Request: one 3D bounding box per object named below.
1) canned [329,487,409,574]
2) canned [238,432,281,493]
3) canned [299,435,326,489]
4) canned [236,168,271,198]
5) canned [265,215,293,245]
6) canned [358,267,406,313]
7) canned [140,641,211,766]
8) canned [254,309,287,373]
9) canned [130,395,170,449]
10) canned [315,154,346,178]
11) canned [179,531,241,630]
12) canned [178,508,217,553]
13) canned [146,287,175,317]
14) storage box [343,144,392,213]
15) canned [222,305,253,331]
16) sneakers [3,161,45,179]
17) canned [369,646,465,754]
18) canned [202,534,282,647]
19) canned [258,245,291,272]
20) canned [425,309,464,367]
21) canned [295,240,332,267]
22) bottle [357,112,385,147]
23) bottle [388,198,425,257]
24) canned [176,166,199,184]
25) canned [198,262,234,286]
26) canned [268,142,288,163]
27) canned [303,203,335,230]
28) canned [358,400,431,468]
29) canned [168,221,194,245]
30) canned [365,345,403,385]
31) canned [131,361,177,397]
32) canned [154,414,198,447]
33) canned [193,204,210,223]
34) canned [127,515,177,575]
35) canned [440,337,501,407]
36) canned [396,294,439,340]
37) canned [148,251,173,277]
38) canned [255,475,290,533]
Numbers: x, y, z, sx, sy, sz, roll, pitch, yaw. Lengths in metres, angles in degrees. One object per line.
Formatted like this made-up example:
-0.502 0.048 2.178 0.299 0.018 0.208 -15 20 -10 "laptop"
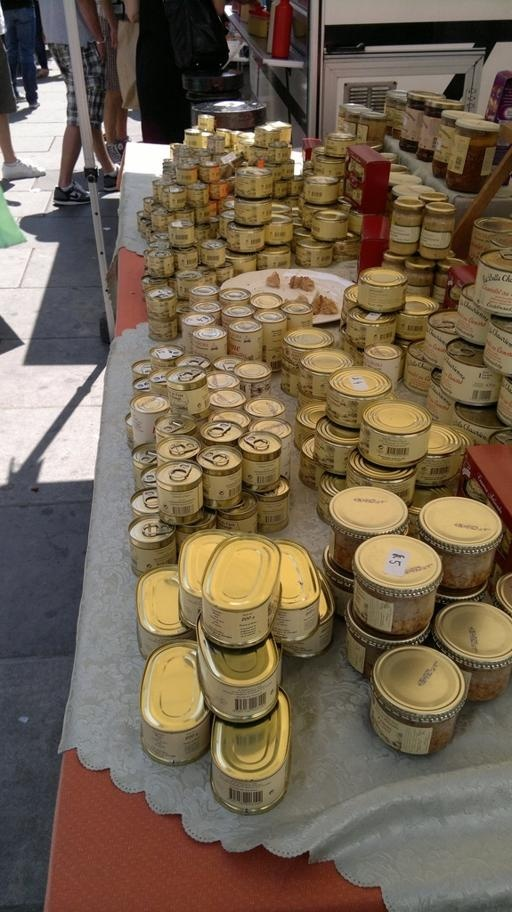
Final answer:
0.177 0.134 1.115 0.111 0.118 0.119 3 33 4 "canned"
0.008 0.003 1.336 0.094 0.108 0.102 0 43 2 "canned"
0.125 0.013 1.459 0.069 0.078 0.071 -17 48 -12 "canned"
-0.009 -0.920 2.326 0.105 0.069 0.111 14 43 13 "canned"
0.081 -0.796 2.428 0.096 0.077 0.102 10 46 6 "canned"
0.325 -0.420 1.765 0.110 0.075 0.115 -5 41 -5 "canned"
-0.120 0.361 0.999 0.099 0.070 0.184 4 24 -5 "canned"
0.050 -0.311 1.883 0.079 0.140 0.082 6 18 22 "canned"
-0.232 -0.076 1.487 0.076 0.134 0.081 -6 41 -12 "canned"
0.277 -1.077 2.509 0.099 0.064 0.104 13 45 4 "canned"
-0.081 0.177 1.031 0.086 0.048 0.147 6 35 3 "canned"
-0.104 0.139 1.280 0.069 0.082 0.072 -9 31 -10 "canned"
-0.294 -0.472 2.141 0.085 0.067 0.089 32 50 27 "canned"
0.352 -0.902 2.181 0.076 0.173 0.197 -10 41 -10 "storage box"
-0.047 -0.396 1.840 0.076 0.061 0.080 -4 42 -4 "canned"
-2.291 -2.772 6.550 0.419 0.185 0.159 -12 50 -18 "sneakers"
0.228 0.333 0.981 0.133 0.123 0.141 0 34 6 "canned"
-0.018 0.178 0.926 0.105 0.068 0.195 4 22 8 "canned"
0.070 -0.705 2.392 0.093 0.064 0.094 -17 32 -27 "canned"
0.455 -0.276 1.606 0.097 0.105 0.098 -25 40 -21 "canned"
0.217 -0.724 2.457 0.107 0.072 0.112 0 41 -4 "canned"
0.482 -1.363 2.821 0.117 0.119 0.226 5 36 8 "bottle"
0.454 -0.685 2.004 0.089 0.150 0.090 -2 35 1 "bottle"
-0.261 -1.073 2.572 0.075 0.058 0.080 15 55 5 "canned"
-0.133 -0.614 2.292 0.097 0.065 0.100 24 47 21 "canned"
0.092 -1.167 2.590 0.058 0.044 0.061 4 46 1 "canned"
0.233 -0.894 2.471 0.098 0.067 0.102 16 42 19 "canned"
0.252 -0.039 1.216 0.116 0.078 0.119 19 36 27 "canned"
-0.266 -0.769 2.390 0.084 0.064 0.084 -27 51 -29 "canned"
0.295 -0.213 1.564 0.079 0.092 0.082 18 44 28 "canned"
-0.253 -0.180 1.672 0.100 0.037 0.099 -3 41 -1 "canned"
-0.167 -0.054 1.410 0.068 0.078 0.069 -22 47 -24 "canned"
-0.206 -0.909 2.527 0.058 0.060 0.062 -2 52 -3 "canned"
-0.189 0.162 1.261 0.096 0.112 0.100 -11 40 -9 "canned"
0.439 -0.164 1.374 0.112 0.087 0.118 8 27 7 "canned"
0.440 -0.378 1.797 0.113 0.077 0.116 -19 44 -19 "canned"
-0.323 -0.650 2.319 0.081 0.063 0.085 21 49 15 "canned"
0.032 0.104 1.396 0.093 0.110 0.099 -3 38 1 "canned"
